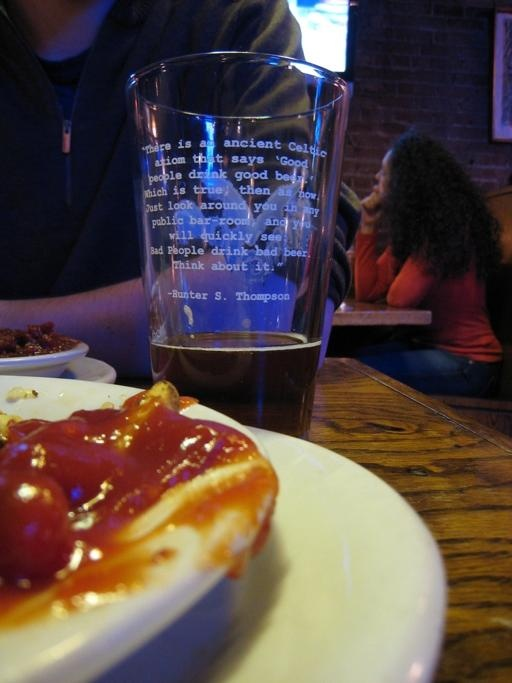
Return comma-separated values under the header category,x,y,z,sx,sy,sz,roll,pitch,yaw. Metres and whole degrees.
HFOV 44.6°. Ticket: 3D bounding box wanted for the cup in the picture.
category,x,y,z,sx,sy,sz,roll,pitch,yaw
cup,-0.017,-0.045,0.318,0.109,0.183,0.066,6,6,5
